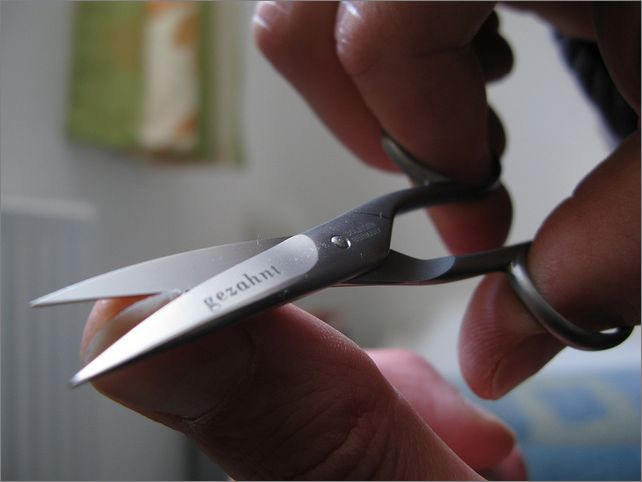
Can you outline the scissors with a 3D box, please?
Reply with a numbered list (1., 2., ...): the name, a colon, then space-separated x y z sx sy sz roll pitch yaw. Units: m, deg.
1. scissors: 0.014 0.017 0.876 0.438 0.093 0.331 -11 58 -36
